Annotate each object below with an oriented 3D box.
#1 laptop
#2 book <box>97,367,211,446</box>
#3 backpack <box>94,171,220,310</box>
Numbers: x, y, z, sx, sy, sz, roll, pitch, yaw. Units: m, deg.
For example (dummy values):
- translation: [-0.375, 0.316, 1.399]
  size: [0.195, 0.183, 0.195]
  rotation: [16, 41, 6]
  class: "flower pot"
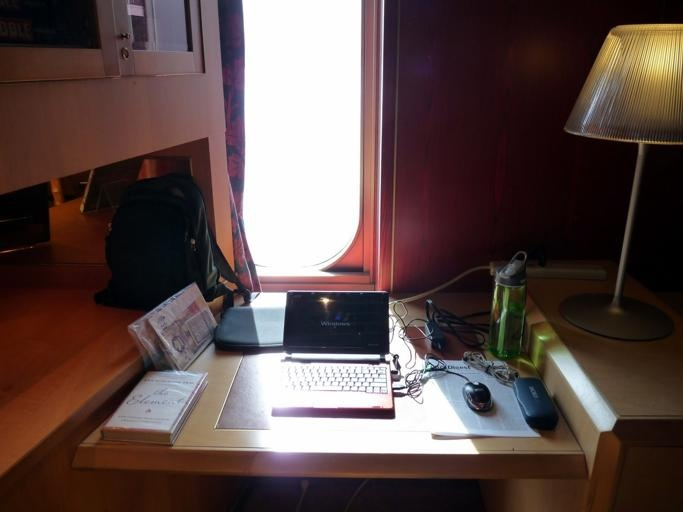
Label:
- translation: [-0.029, 0.253, 1.488]
  size: [0.337, 0.240, 0.358]
  rotation: [1, 13, 7]
  class: "laptop"
- translation: [-0.505, 0.408, 1.403]
  size: [0.202, 0.043, 0.228]
  rotation: [0, 26, 11]
  class: "book"
- translation: [-0.639, -0.055, 1.809]
  size: [0.390, 0.470, 0.376]
  rotation: [-1, 4, -18]
  class: "backpack"
